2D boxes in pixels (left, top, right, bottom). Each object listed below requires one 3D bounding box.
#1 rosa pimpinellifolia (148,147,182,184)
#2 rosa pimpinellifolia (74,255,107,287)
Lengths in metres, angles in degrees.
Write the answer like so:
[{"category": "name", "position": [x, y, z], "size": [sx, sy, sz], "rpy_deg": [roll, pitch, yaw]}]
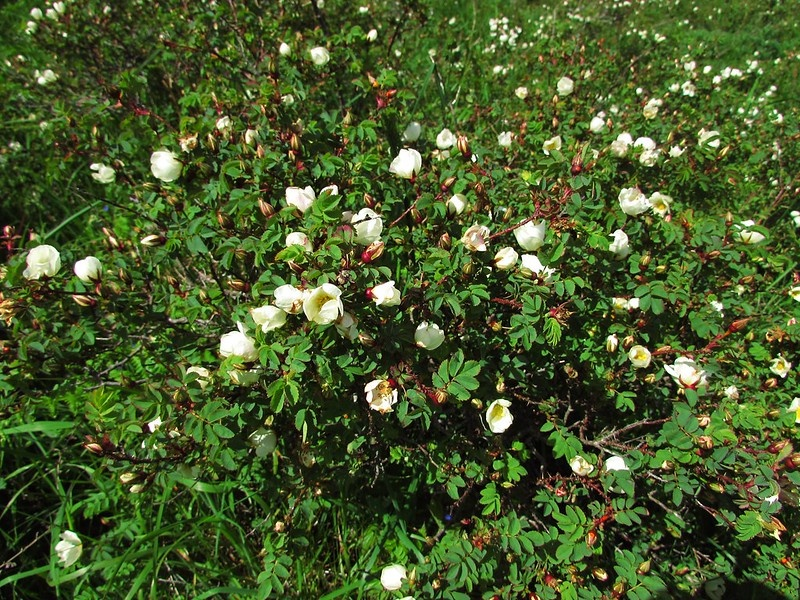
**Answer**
[{"category": "rosa pimpinellifolia", "position": [-1.336, -0.774, 3.231], "size": [0.150, 0.224, 0.151], "rpy_deg": [12, 76, 3]}, {"category": "rosa pimpinellifolia", "position": [-1.803, -0.188, 3.274], "size": [0.172, 0.153, 0.144], "rpy_deg": [38, 87, -4]}]
